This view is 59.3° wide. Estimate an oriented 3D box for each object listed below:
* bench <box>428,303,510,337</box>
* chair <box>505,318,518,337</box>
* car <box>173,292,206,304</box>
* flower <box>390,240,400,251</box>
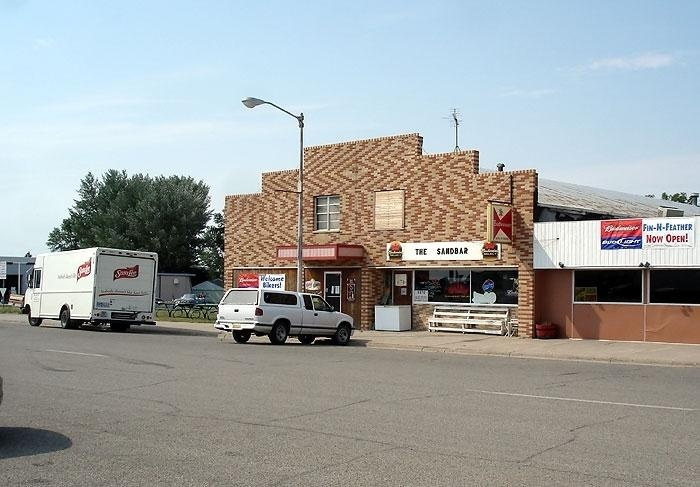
[{"bbox_3d":[5.323,3.463,28.027,3.570,1.272,0.980,-1,-4,34],"label":"bench"},{"bbox_3d":[6.985,3.659,26.618,0.644,0.664,0.644,0,-8,-3],"label":"chair"},{"bbox_3d":[-15.294,5.243,58.905,1.355,0.859,2.197,-6,-12,36],"label":"car"},{"bbox_3d":[2.140,0.135,29.306,0.429,0.411,0.440,-4,-12,40],"label":"flower"}]
